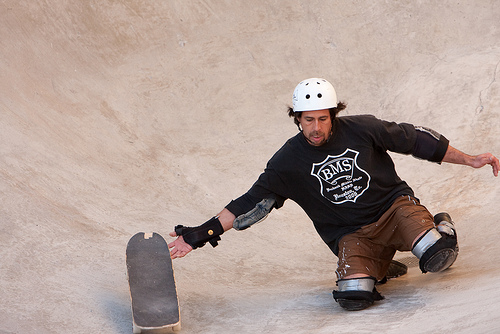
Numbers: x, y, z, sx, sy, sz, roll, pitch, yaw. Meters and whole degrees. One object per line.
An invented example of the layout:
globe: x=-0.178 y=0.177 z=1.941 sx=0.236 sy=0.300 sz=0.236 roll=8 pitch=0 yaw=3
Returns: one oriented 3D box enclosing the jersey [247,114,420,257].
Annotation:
jersey: x=1.142 y=0.337 z=7.817 sx=1.772 sy=1.091 sz=1.046 roll=-27 pitch=13 yaw=23
